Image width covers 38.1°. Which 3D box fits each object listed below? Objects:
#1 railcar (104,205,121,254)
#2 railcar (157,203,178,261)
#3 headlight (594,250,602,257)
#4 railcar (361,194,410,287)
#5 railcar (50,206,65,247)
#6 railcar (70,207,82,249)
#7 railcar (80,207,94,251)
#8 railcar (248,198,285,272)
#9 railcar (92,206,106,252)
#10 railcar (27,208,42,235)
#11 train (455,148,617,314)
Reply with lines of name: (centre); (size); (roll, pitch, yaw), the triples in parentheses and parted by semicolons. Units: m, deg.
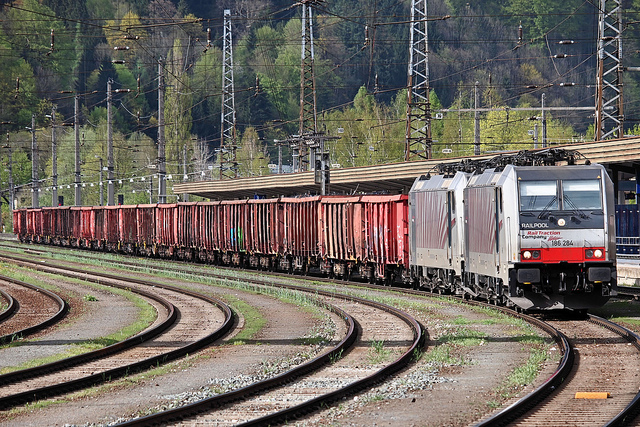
railcar: (-16.394, 1.333, 74.584); (1.154, 4.111, 4.443); (-4, 5, -13)
railcar: (-10.345, 1.338, 66.515); (1.232, 3.929, 2.173); (2, 3, -12)
headlight: (9.743, 1.391, 32.579); (0.273, 0.244, 0.065); (-2, 5, 2)
railcar: (3.303, 1.272, 44.628); (1.180, 4.496, 4.011); (-4, 5, -13)
railcar: (-24.270, 1.263, 85.925); (0.984, 3.813, 5.065); (-4, 5, -18)
railcar: (-21.043, 1.036, 80.785); (0.775, 4.313, 3.666); (-2, 3, -21)
railcar: (-19.516, 1.070, 78.489); (0.661, 4.771, 3.841); (1, 0, -24)
railcar: (-3.155, 1.366, 55.745); (1.394, 4.612, 4.894); (-4, 5, -18)
railcar: (-17.956, 1.107, 76.242); (0.580, 4.260, 3.883); (0, -1, -29)
railcar: (-27.632, 0.783, 90.495); (2.595, 2.518, 0.863); (3, 2, 39)
train: (8.963, -0.102, 37.638); (4.263, 5.690, 11.383); (-2, 7, 4)
